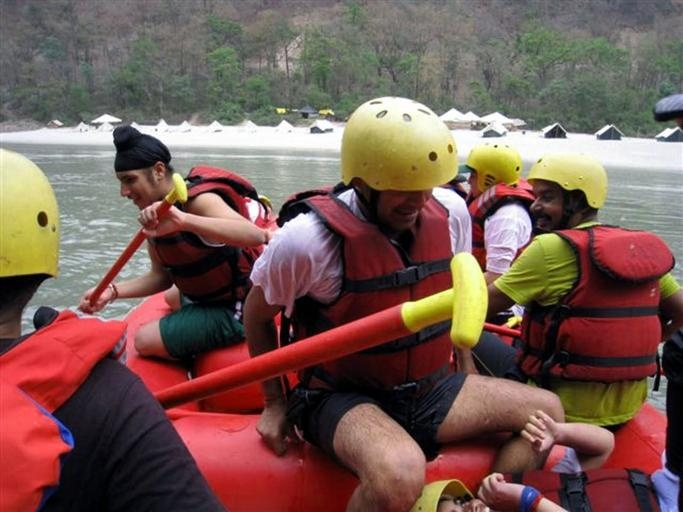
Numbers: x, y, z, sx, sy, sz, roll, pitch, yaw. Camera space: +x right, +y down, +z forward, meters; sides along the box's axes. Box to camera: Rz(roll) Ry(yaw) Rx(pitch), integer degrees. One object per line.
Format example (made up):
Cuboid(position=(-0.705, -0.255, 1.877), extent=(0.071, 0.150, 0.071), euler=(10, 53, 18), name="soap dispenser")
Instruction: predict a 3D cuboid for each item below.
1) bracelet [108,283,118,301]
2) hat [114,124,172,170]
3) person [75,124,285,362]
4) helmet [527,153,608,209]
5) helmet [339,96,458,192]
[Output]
Cuboid(position=(-1.254, 0.187, 3.816), extent=(0.028, 0.067, 0.077), euler=(2, 35, -34), name="bracelet")
Cuboid(position=(-1.060, -0.548, 3.698), extent=(0.221, 0.254, 0.310), euler=(2, 2, 45), name="hat")
Cuboid(position=(-0.824, -0.086, 3.749), extent=(0.894, 1.231, 1.264), euler=(-9, 11, -36), name="person")
Cuboid(position=(1.074, -0.361, 3.323), extent=(0.342, 0.257, 0.289), euler=(4, 8, 19), name="helmet")
Cuboid(position=(0.221, -0.415, 2.660), extent=(0.480, 0.349, 0.391), euler=(11, 21, 32), name="helmet")
